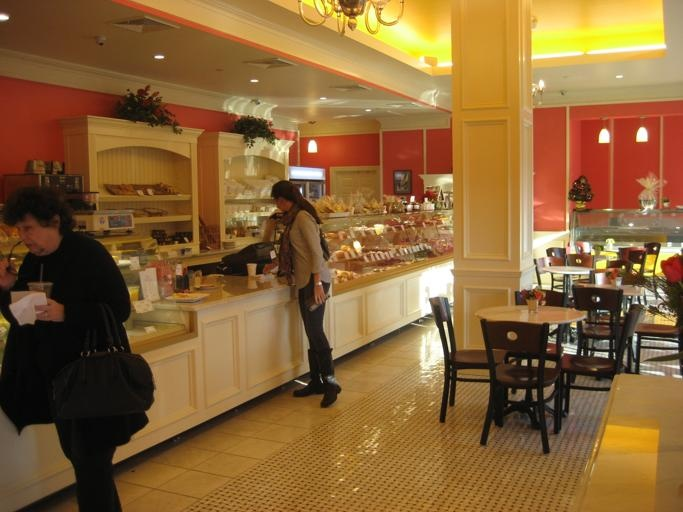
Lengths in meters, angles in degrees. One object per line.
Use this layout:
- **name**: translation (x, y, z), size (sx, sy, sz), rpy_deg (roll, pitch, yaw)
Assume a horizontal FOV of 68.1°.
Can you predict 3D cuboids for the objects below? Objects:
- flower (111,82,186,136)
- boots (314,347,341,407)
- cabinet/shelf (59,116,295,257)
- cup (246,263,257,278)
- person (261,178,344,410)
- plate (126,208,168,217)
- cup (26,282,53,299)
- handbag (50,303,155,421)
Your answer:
- **flower**: translation (-2.762, -2.090, 7.212), size (0.882, 0.590, 0.509), rpy_deg (-5, 8, -27)
- **boots**: translation (-0.114, 1.113, 4.672), size (0.184, 0.509, 0.254), rpy_deg (-3, 8, -2)
- **cabinet/shelf**: translation (-2.354, -0.997, 7.102), size (0.454, 1.189, 3.134), rpy_deg (-1, 3, 28)
- **cup**: translation (-0.836, 0.147, 4.931), size (0.135, 0.111, 0.121), rpy_deg (2, 7, 7)
- **person**: translation (-0.372, 0.318, 4.864), size (0.464, 2.074, 0.951), rpy_deg (-9, 10, -37)
- **plate**: translation (-2.894, -0.662, 7.713), size (0.423, 0.139, 0.682), rpy_deg (-3, 6, -11)
- **cup**: translation (-1.404, 0.160, 2.366), size (0.090, 0.058, 0.097), rpy_deg (1, 1, 0)
- **handbag**: translation (-1.169, 0.531, 2.454), size (0.438, 0.567, 0.278), rpy_deg (-6, 8, -27)
